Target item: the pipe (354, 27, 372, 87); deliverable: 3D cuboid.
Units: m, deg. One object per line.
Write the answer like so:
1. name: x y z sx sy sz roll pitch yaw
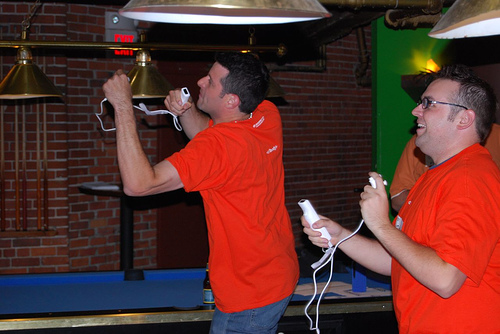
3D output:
1. pipe: 1.626 -1.664 7.219 0.209 0.696 0.153 -4 21 22

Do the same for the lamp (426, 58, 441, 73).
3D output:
1. lamp: 1.986 -1.127 5.462 0.130 0.151 0.141 0 4 13

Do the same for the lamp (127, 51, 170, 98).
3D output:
1. lamp: -0.695 -0.632 3.383 0.264 0.317 0.287 -3 5 -34

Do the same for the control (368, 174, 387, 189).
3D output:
1. control: 0.604 0.071 2.411 0.043 0.033 0.094 -1 17 -33

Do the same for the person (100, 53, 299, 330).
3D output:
1. person: -0.223 0.197 2.924 1.030 1.748 0.395 -2 5 -21

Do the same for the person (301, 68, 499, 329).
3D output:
1. person: 0.835 0.150 2.488 0.791 1.315 0.517 0 4 8

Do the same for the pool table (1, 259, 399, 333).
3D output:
1. pool table: -0.494 0.904 3.478 2.740 0.426 0.971 0 4 2

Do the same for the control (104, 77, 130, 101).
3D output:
1. control: -0.735 -0.438 2.794 0.131 0.121 0.126 6 -12 -19
